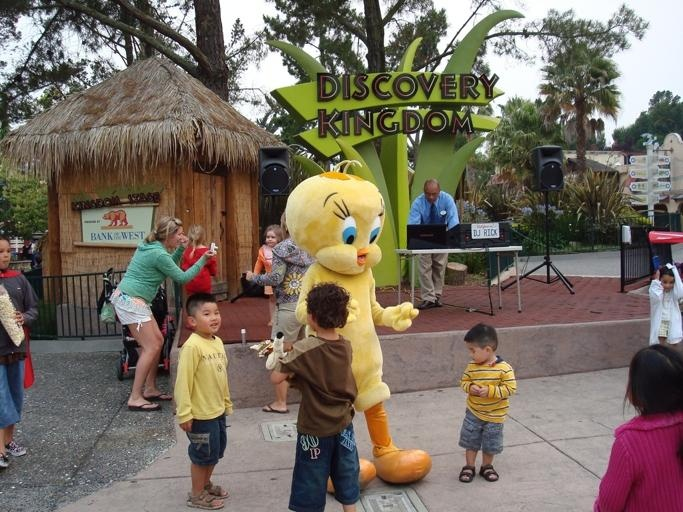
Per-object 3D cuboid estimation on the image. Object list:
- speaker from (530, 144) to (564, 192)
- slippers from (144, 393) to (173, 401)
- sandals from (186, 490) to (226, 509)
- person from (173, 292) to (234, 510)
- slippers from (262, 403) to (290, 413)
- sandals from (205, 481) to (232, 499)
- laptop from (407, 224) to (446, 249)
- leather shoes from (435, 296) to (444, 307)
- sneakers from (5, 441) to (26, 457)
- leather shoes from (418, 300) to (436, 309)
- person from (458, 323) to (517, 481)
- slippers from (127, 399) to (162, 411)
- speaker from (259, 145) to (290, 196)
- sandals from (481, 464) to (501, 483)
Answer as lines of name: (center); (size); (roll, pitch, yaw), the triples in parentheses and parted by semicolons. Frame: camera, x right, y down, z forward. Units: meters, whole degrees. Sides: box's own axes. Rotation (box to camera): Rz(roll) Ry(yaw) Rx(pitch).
speaker: (3.956, -1.691, 11.545); (0.548, 0.858, 0.391); (2, 10, 19)
slippers: (-2.233, 1.745, 7.441); (0.293, 0.077, 0.121); (2, -2, -22)
sandals: (-1.153, 2.089, 5.183); (0.249, 0.118, 0.145); (1, -4, 0)
person: (-1.178, 1.225, 5.208); (0.420, 1.782, 0.501); (-1, 9, 4)
slippers: (-0.764, 1.758, 7.094); (0.214, 0.079, 0.126); (5, -4, 7)
sandals: (-1.060, 2.027, 5.261); (0.197, 0.087, 0.100); (5, 2, 11)
laptop: (1.255, -0.293, 8.834); (0.455, 0.354, 0.343); (0, 2, -1)
leather shoes: (1.574, 0.737, 9.828); (0.097, 0.212, 0.204); (4, -8, -32)
sneakers: (-3.276, 1.960, 6.131); (0.229, 0.120, 0.100); (1, -1, 13)
leather shoes: (1.413, 0.777, 9.690); (0.335, 0.160, 0.117); (3, -1, -23)
person: (1.316, 1.293, 5.469); (0.473, 1.413, 0.465); (0, 9, 11)
slippers: (-2.333, 1.764, 7.191); (0.262, 0.079, 0.153); (-1, -6, 5)
speaker: (-1.119, -1.435, 10.111); (0.492, 0.802, 0.265); (-3, 9, -9)
sandals: (1.337, 1.955, 5.432); (0.084, 0.079, 0.177); (-1, -13, -5)
